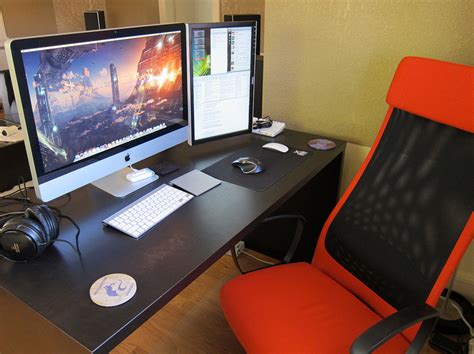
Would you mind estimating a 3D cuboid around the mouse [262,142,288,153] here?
[{"bbox_3d":[0.209,-0.160,1.826,0.099,0.025,0.061,14,28,26],"label":"mouse"}]

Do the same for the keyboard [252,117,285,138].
[{"bbox_3d":[0.175,-0.297,2.061,0.148,0.035,0.149,20,34,32],"label":"keyboard"}]
